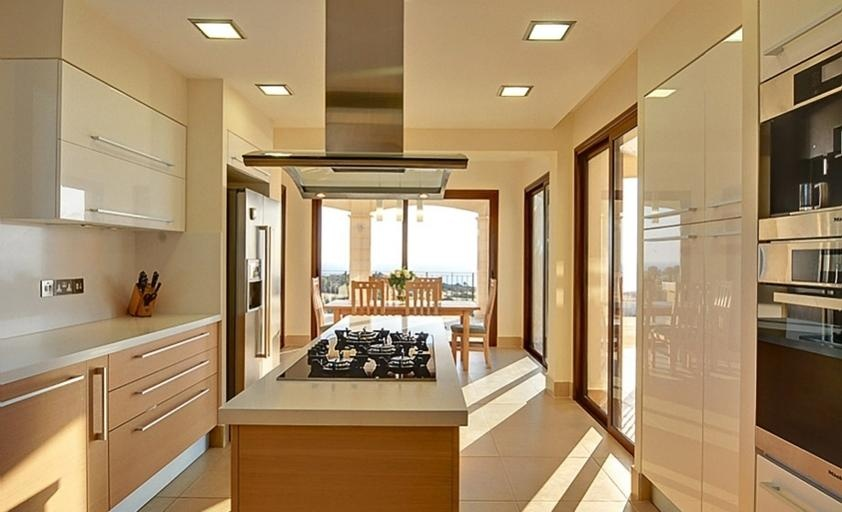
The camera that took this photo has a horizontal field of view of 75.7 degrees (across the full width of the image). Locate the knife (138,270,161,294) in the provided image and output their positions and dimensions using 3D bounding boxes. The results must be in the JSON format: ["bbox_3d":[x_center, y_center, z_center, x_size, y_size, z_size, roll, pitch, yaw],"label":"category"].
[{"bbox_3d":[-2.350,0.219,4.709,0.173,0.192,0.243,-3,8,-9],"label":"knife"}]

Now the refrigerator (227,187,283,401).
[{"bbox_3d":[-1.619,0.326,5.258,0.238,1.943,0.825,0,8,15],"label":"refrigerator"}]

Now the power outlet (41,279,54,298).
[{"bbox_3d":[-2.744,0.238,4.008,0.027,0.101,0.112,2,-5,13],"label":"power outlet"}]

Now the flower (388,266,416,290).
[{"bbox_3d":[-0.263,0.304,7.350,0.305,0.253,0.300,2,-6,-6],"label":"flower"}]

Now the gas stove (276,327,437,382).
[{"bbox_3d":[-0.380,0.647,3.678,0.944,0.107,0.935,-2,7,-1],"label":"gas stove"}]
